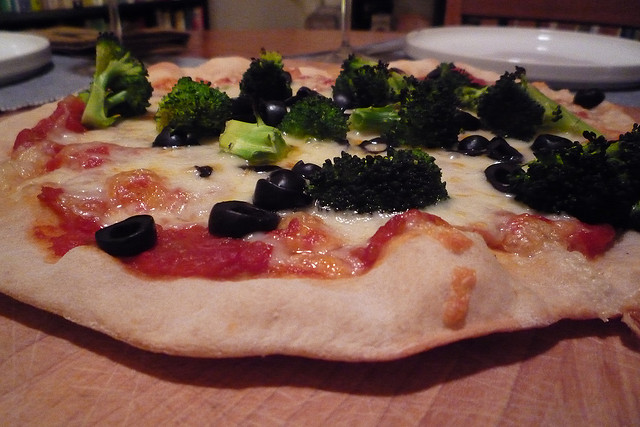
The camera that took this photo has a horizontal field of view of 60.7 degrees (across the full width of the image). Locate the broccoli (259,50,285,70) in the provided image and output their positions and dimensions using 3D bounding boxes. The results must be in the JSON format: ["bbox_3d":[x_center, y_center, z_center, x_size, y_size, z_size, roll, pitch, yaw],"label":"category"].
[{"bbox_3d":[-0.362,-1.064,3.741,0.177,0.110,0.145,14,8,20],"label":"broccoli"}]

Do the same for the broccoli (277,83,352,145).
[{"bbox_3d":[-0.008,-0.625,3.488,0.387,0.203,0.450,5,22,4],"label":"broccoli"}]

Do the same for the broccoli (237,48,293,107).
[{"bbox_3d":[-0.349,-1.012,3.744,0.255,0.147,0.205,-22,44,1],"label":"broccoli"}]

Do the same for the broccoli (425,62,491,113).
[{"bbox_3d":[0.980,-0.908,3.813,0.545,0.132,0.378,22,14,-40],"label":"broccoli"}]

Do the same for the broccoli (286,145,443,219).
[{"bbox_3d":[0.243,-0.164,2.735,0.647,0.226,0.391,-5,27,-11],"label":"broccoli"}]

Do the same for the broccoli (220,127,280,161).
[{"bbox_3d":[-0.403,-0.417,3.113,0.280,0.111,0.204,13,41,12],"label":"broccoli"}]

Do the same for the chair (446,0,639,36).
[{"bbox_3d":[3.043,-2.692,7.457,1.787,0.318,0.256,13,27,28],"label":"chair"}]

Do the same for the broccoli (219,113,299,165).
[{"bbox_3d":[-0.375,-0.419,3.102,0.327,0.122,0.288,-2,39,-15],"label":"broccoli"}]
